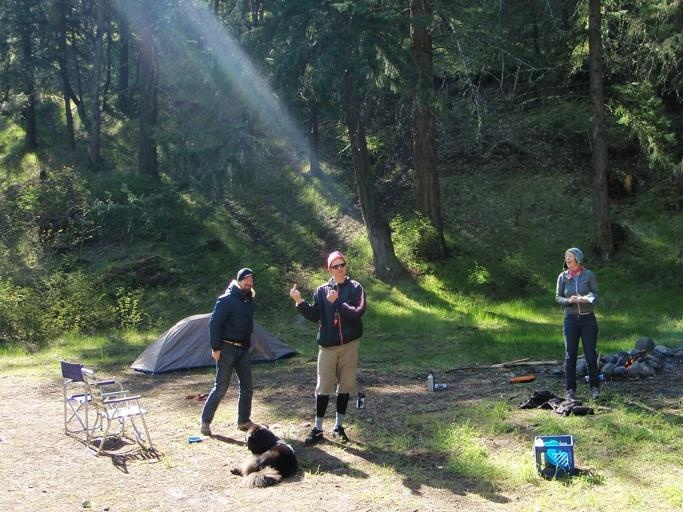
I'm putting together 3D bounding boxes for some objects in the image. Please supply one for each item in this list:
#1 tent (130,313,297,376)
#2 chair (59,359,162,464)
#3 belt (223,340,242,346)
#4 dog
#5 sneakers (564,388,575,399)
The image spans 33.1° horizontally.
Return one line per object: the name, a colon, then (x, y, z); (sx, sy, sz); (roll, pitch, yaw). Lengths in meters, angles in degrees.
tent: (-4.715, 2.967, 43.347); (5.391, 1.939, 3.846); (-6, 3, -14)
chair: (-7.556, 4.789, 37.082); (3.396, 2.944, 1.742); (-1, 2, 30)
belt: (-3.437, 2.776, 36.822); (0.526, 0.215, 0.053); (-2, 2, -5)
dog: (-2.034, 6.136, 36.005); (2.396, 1.678, 2.353); (4, 2, -25)
sneakers: (7.408, 4.467, 37.380); (0.281, 0.315, 0.274); (-2, -11, 30)
